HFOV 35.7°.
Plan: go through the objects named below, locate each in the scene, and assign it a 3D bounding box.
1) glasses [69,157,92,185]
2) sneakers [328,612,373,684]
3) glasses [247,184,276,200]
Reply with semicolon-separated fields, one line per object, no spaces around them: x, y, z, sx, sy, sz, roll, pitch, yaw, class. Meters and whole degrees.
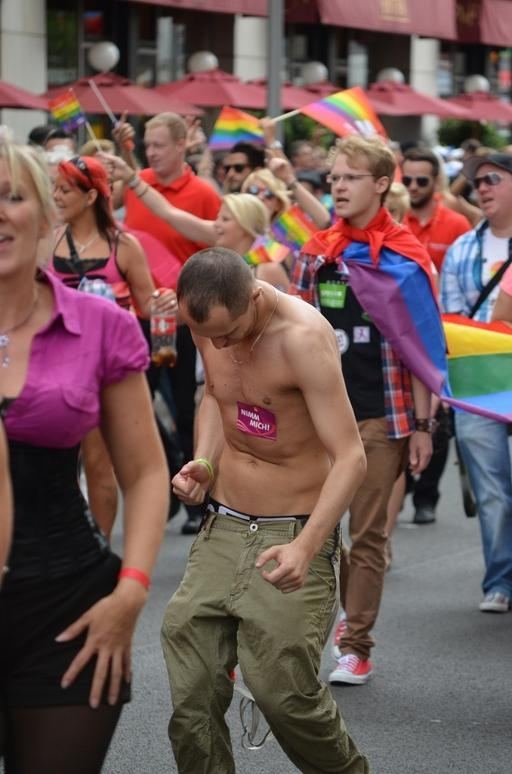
-0.963;-1.193;4.409;0.070;0.149;0.112;-38;10;-28;glasses
0.440;1.340;3.867;0.138;0.253;0.377;-2;-12;10;sneakers
0.038;-1.461;5.927;0.155;0.150;0.049;9;57;29;glasses
